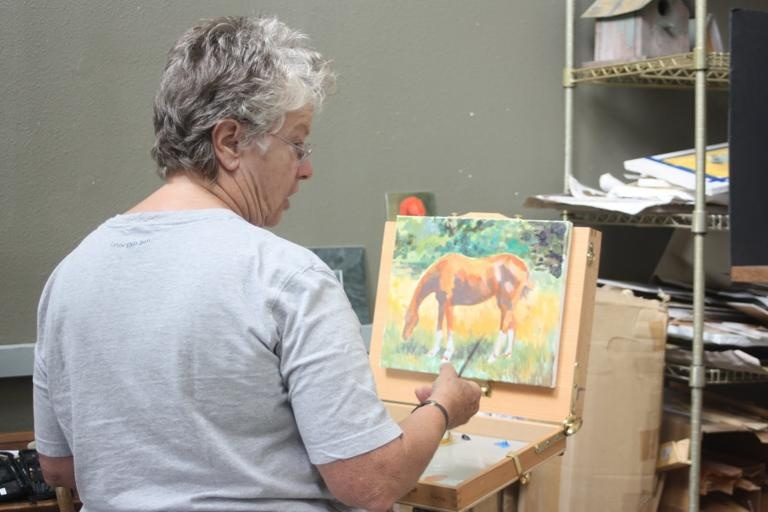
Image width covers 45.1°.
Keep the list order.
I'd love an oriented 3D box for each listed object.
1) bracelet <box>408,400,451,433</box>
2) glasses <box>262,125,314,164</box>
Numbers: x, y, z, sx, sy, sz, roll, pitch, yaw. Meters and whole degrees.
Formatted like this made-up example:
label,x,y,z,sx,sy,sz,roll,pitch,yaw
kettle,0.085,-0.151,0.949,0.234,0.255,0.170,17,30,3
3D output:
label,x,y,z,sx,sy,sz,roll,pitch,yaw
bracelet,0.112,0.378,2.177,0.110,0.105,0.031,-5,1,12
glasses,-0.224,-0.268,2.208,0.086,0.027,0.061,29,-1,-8
